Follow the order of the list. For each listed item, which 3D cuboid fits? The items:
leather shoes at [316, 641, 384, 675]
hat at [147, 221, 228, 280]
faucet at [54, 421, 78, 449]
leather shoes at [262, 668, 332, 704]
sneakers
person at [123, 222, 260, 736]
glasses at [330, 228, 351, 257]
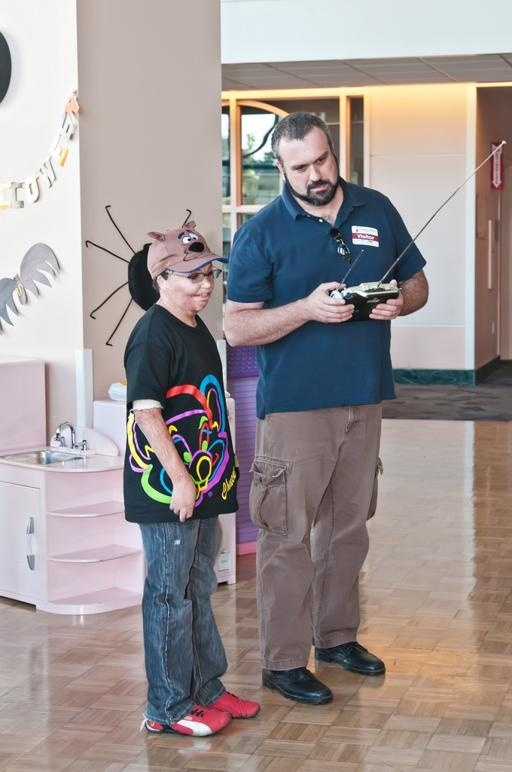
[{"bbox_3d":[0.298,0.820,2.215,0.223,0.082,0.080,1,3,27],"label":"leather shoes"},{"bbox_3d":[-0.168,-0.328,1.746,0.137,0.121,0.212,-17,11,-39],"label":"hat"},{"bbox_3d":[-0.842,0.227,3.265,0.149,0.111,0.064,-4,-5,43],"label":"faucet"},{"bbox_3d":[0.122,0.803,1.979,0.206,0.083,0.071,-2,-1,44],"label":"leather shoes"},{"bbox_3d":[-0.135,0.782,1.753,0.163,0.054,0.120,-13,-6,25],"label":"sneakers"},{"bbox_3d":[-0.177,0.191,1.712,0.291,1.284,0.440,-2,-4,9],"label":"person"},{"bbox_3d":[0.218,-0.364,1.846,0.054,0.066,0.028,19,19,15],"label":"glasses"}]
